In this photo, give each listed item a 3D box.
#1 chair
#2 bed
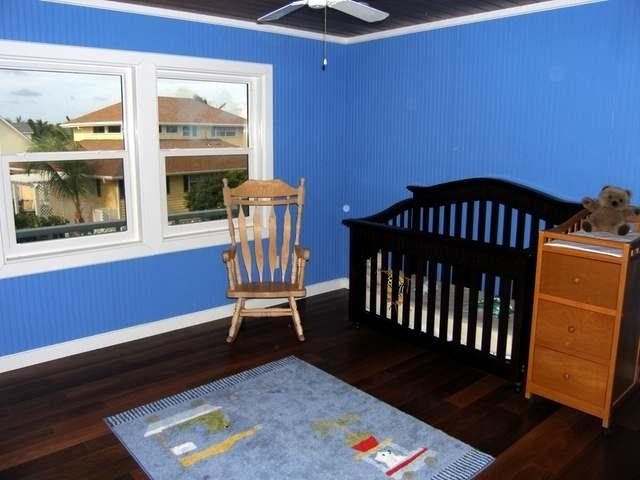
[{"bbox_3d":[-0.458,0.169,3.980,0.748,1.240,0.683,0,15,-1],"label":"chair"},{"bbox_3d":[1.060,0.234,4.041,1.355,1.809,2.269,-7,11,-39],"label":"bed"}]
